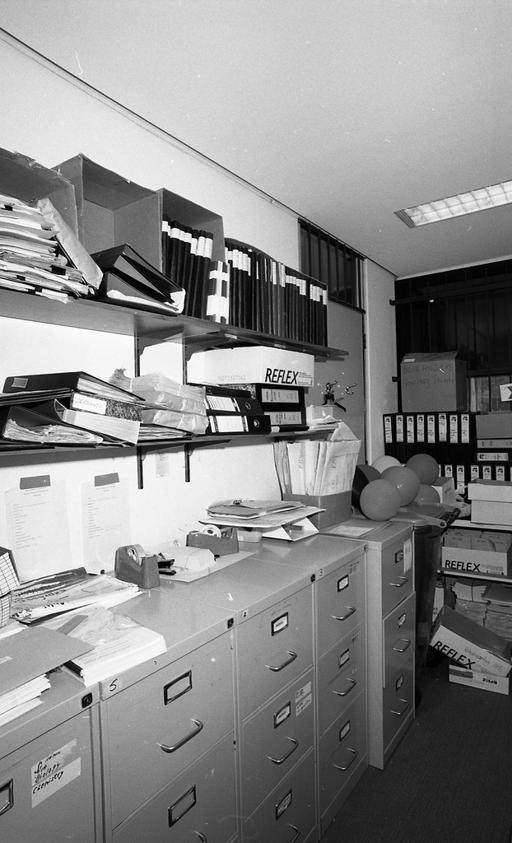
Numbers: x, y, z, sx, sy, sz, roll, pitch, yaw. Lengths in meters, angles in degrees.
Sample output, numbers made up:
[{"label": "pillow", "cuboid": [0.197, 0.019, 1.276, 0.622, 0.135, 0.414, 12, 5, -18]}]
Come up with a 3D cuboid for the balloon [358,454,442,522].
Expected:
[{"label": "balloon", "cuboid": [0.667, 0.339, 2.718, 0.219, 0.248, 0.595, -16, 2, 35]}]

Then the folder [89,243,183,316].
[{"label": "folder", "cuboid": [-0.317, -0.341, 1.549, 0.161, 0.090, 0.217, -10, -8, 35]}]

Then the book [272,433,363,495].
[{"label": "book", "cuboid": [0.239, 0.173, 2.451, 0.268, 0.240, 0.232, 0, -2, 27]}]
